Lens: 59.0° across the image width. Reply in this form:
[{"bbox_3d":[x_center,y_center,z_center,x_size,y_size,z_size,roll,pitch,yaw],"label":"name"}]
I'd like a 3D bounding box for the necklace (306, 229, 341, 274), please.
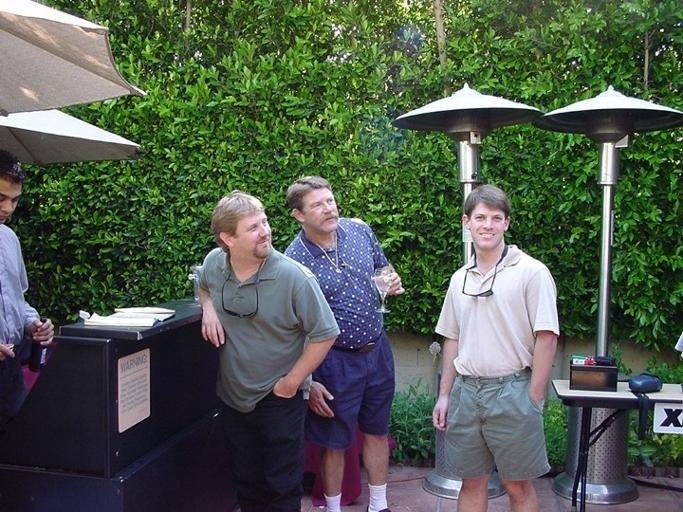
[{"bbox_3d":[-0.118,-0.050,3.921,0.157,0.308,0.061,-28,-4,-23],"label":"necklace"}]

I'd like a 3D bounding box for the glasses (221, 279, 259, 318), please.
[{"bbox_3d":[-0.514,0.232,3.334,0.180,0.192,0.055,2,6,5],"label":"glasses"}]
